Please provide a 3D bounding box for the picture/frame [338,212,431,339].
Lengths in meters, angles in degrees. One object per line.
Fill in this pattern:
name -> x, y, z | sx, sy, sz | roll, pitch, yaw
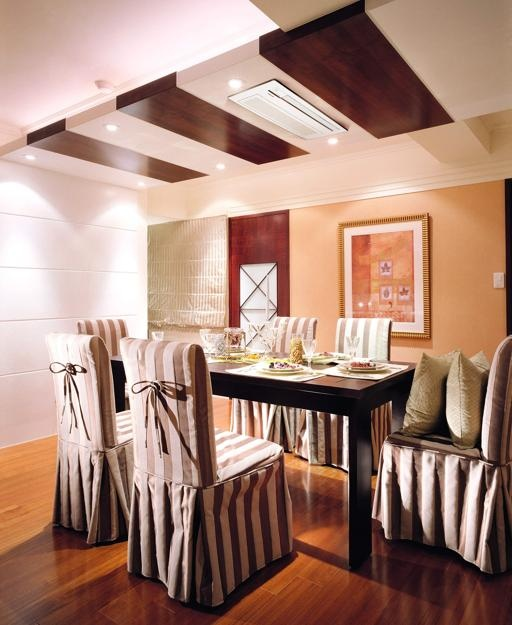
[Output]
picture/frame -> 1.129, -0.303, 4.251 | 0.792, 1.254, 0.048 | -2, -21, 18

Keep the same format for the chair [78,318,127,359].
chair -> -0.958, 0.161, 2.925 | 0.215, 0.348, 0.214 | -7, -6, 44

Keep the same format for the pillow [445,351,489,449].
pillow -> 0.997, 0.331, 2.156 | 0.152, 0.410, 0.553 | 0, 12, 37

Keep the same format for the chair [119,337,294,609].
chair -> -0.192, 0.548, 1.879 | 0.473, 0.914, 0.562 | 1, 3, 40

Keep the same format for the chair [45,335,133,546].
chair -> -0.708, 0.541, 2.285 | 0.438, 0.904, 0.530 | 4, 5, 29

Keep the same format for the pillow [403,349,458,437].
pillow -> 0.843, 0.402, 2.288 | 0.173, 0.434, 0.524 | -2, 0, 32

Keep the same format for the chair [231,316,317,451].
chair -> 0.112, 0.458, 3.404 | 0.506, 0.929, 0.595 | 10, 15, 15

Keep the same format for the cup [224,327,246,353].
cup -> -0.132, 0.170, 2.895 | 0.113, 0.191, 0.133 | -1, -2, -16
